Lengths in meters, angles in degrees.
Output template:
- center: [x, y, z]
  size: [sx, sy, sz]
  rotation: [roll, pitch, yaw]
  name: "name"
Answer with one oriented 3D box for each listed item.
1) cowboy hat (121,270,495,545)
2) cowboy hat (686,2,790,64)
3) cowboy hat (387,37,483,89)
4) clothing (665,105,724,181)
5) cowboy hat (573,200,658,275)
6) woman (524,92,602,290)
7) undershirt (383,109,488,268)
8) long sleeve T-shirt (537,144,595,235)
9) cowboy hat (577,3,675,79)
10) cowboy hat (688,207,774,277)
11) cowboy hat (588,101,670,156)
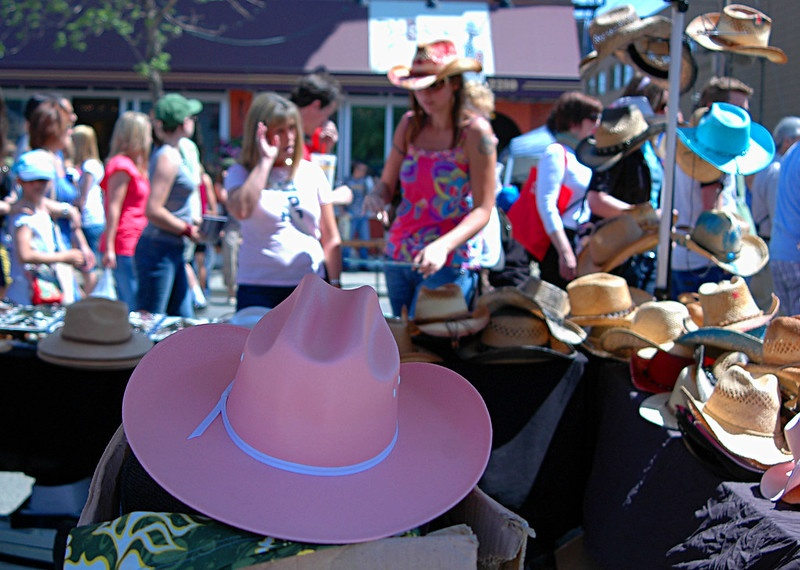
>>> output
- center: [-0.392, 0.490, 4.020]
  size: [1.568, 1.037, 0.638]
  rotation: [4, 9, 4]
  name: "cowboy hat"
- center: [1.927, -1.476, 5.253]
  size: [0.380, 0.174, 0.401]
  rotation: [26, 36, -1]
  name: "cowboy hat"
- center: [0.168, -1.159, 4.787]
  size: [0.278, 0.141, 0.334]
  rotation: [-13, 20, 35]
  name: "cowboy hat"
- center: [1.851, -0.797, 5.785]
  size: [0.381, 0.549, 0.183]
  rotation: [12, -8, -5]
  name: "clothing"
- center: [1.285, -0.262, 5.573]
  size: [0.307, 0.508, 0.705]
  rotation: [-2, 11, -23]
  name: "cowboy hat"
- center: [1.093, -0.597, 6.070]
  size: [0.395, 1.815, 0.688]
  rotation: [6, 24, 17]
  name: "woman"
- center: [0.212, -0.512, 4.881]
  size: [0.542, 0.937, 0.436]
  rotation: [9, 9, 23]
  name: "undershirt"
- center: [1.093, -0.661, 6.054]
  size: [0.223, 0.508, 0.364]
  rotation: [-7, 41, -3]
  name: "long sleeve T-shirt"
- center: [1.327, -1.481, 5.604]
  size: [0.356, 0.169, 0.393]
  rotation: [-42, 12, -32]
  name: "cowboy hat"
- center: [1.901, -0.255, 5.302]
  size: [0.357, 0.171, 0.412]
  rotation: [-41, 64, -20]
  name: "cowboy hat"
- center: [1.428, -0.992, 5.796]
  size: [0.446, 0.331, 0.303]
  rotation: [5, 10, 11]
  name: "cowboy hat"
